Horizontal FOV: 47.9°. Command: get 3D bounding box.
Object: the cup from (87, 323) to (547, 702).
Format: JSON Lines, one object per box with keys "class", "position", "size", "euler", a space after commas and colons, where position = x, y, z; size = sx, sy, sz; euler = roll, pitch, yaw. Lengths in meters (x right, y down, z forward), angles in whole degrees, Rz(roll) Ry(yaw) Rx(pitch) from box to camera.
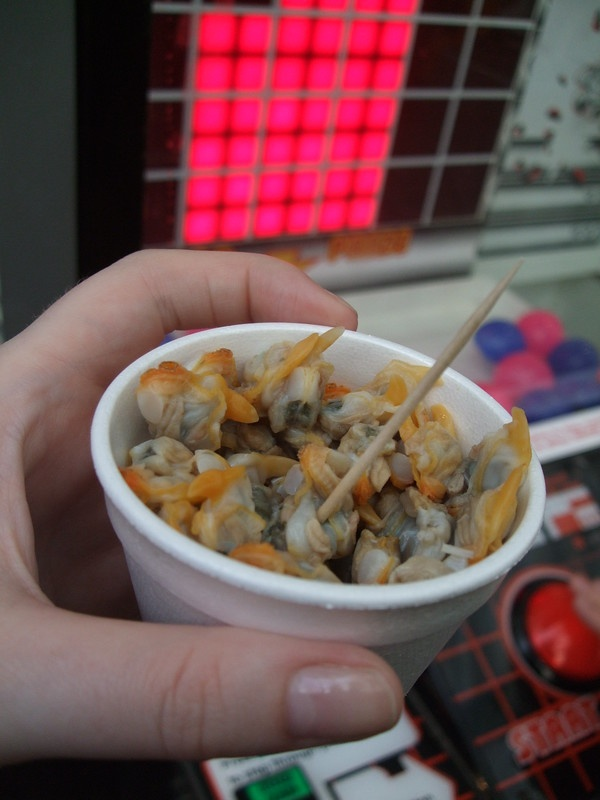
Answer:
{"class": "cup", "position": [0.012, 0.111, 0.836], "size": [0.498, 0.299, 0.486], "euler": [4, 41, -4]}
